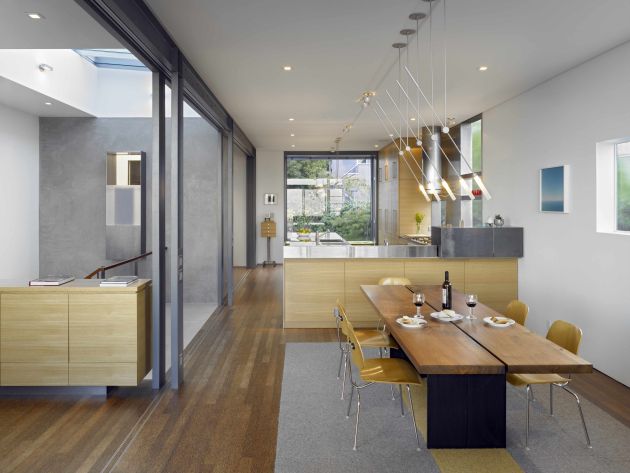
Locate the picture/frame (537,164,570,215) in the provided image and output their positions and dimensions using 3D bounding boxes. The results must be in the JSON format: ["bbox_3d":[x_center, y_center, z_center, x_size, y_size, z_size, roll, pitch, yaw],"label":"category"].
[{"bbox_3d":[3.174,-0.580,6.508,0.393,0.545,0.062,0,0,-11],"label":"picture/frame"}]

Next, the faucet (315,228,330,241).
[{"bbox_3d":[0.197,-0.019,12.779,0.364,0.375,0.278,1,-6,-5],"label":"faucet"}]

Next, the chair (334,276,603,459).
[{"bbox_3d":[1.390,1.223,4.801,1.386,1.188,1.993,-2,12,-11],"label":"chair"}]

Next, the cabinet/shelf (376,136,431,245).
[{"bbox_3d":[2.253,-0.760,11.583,0.564,1.724,1.800,-2,-6,3],"label":"cabinet/shelf"}]

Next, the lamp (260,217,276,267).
[{"bbox_3d":[-1.231,0.111,12.972,0.401,1.277,0.315,0,11,-3],"label":"lamp"}]

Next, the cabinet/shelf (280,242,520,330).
[{"bbox_3d":[1.263,0.544,7.738,3.786,1.437,0.978,-1,25,-5],"label":"cabinet/shelf"}]
